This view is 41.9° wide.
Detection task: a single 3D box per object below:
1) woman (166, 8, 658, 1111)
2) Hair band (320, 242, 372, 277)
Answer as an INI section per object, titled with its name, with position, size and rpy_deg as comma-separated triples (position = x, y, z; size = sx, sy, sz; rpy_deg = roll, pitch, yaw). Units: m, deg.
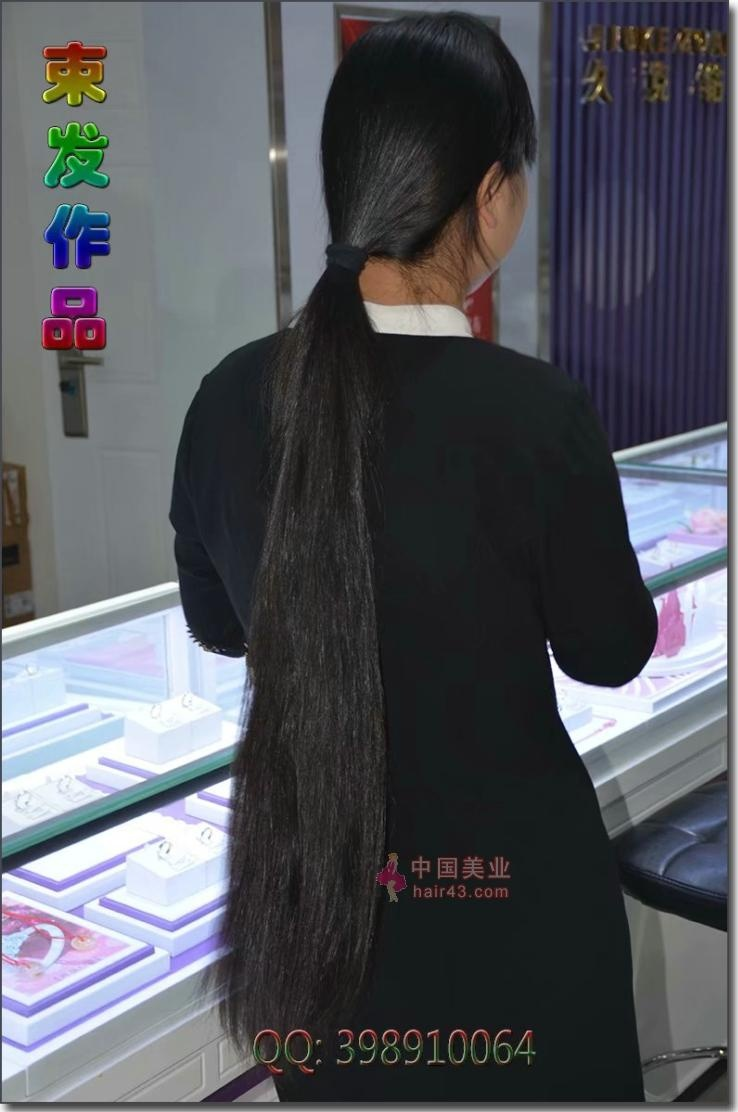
[woman]
position = 0.011, 0.119, 0.943
size = 0.506, 1.168, 0.212
rpy_deg = 4, 17, 27
[Hair band]
position = -0.020, -0.242, 0.786
size = 0.025, 0.019, 0.031
rpy_deg = 9, 32, -9
